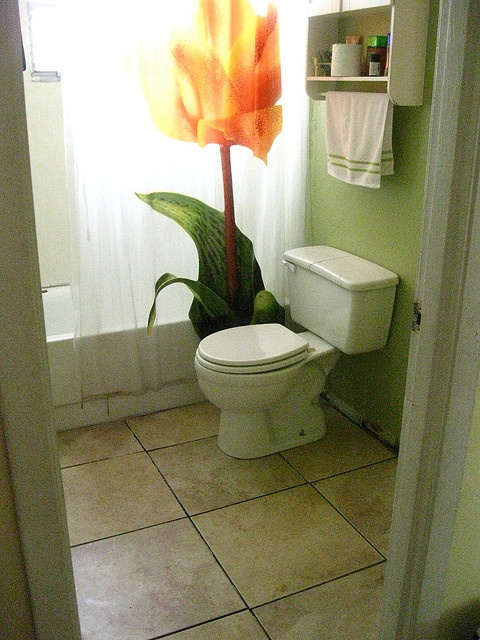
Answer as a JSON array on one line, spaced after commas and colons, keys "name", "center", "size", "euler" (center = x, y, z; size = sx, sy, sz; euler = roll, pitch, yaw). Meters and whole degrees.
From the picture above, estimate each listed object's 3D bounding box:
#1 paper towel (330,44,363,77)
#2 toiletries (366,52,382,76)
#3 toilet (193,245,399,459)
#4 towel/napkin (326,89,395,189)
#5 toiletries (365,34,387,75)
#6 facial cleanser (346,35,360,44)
[{"name": "paper towel", "center": [0.400, -0.994, 1.830], "size": [0.110, 0.137, 0.115], "euler": [-13, 29, -23]}, {"name": "toiletries", "center": [0.486, -0.931, 1.745], "size": [0.047, 0.073, 0.039], "euler": [7, 24, 18]}, {"name": "toilet", "center": [0.209, 0.149, 2.199], "size": [0.738, 0.954, 0.628], "euler": [-8, 26, -21]}, {"name": "towel/napkin", "center": [0.456, -0.733, 1.920], "size": [0.057, 0.349, 0.308], "euler": [-18, 30, -33]}, {"name": "toiletries", "center": [0.499, -0.969, 1.768], "size": [0.067, 0.135, 0.082], "euler": [0, 24, 4]}, {"name": "facial cleanser", "center": [0.427, -1.067, 1.828], "size": [0.043, 0.042, 0.049], "euler": [-13, 27, -21]}]
